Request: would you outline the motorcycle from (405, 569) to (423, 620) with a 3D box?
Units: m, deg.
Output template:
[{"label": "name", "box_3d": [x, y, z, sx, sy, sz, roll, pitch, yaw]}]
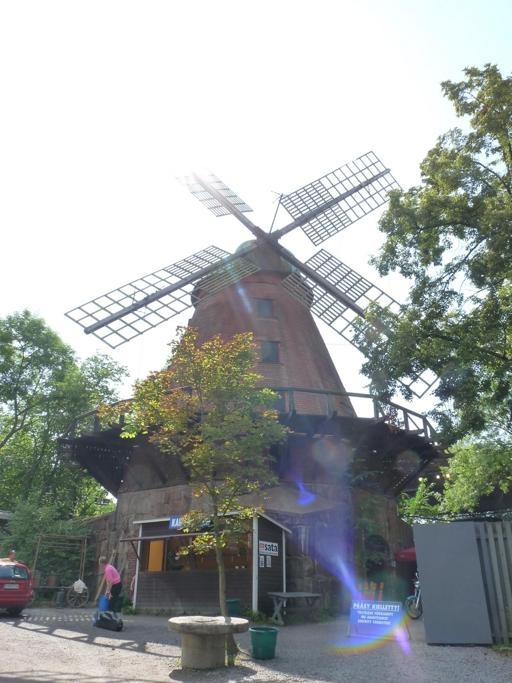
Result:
[{"label": "motorcycle", "box_3d": [4.064, 6.671, 15.099, 0.370, 1.050, 2.450, -5, -24, 12]}]
